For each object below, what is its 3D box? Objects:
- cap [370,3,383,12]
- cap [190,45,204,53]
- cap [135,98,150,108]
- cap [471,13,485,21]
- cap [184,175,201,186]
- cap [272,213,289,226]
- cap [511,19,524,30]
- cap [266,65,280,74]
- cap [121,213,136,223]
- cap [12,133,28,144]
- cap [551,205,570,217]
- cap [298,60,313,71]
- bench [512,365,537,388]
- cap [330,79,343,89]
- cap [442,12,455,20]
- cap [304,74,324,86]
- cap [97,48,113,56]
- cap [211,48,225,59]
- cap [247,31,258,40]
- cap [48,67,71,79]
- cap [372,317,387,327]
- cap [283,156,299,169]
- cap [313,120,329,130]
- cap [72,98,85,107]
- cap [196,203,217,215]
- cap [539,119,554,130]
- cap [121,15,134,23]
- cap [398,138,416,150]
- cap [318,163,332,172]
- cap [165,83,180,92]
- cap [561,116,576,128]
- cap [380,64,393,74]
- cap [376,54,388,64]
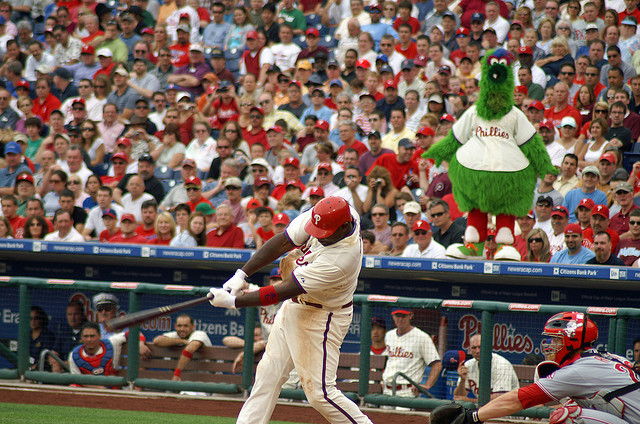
[{"bbox_3d":[1.055,-4.037,36.459,0.199,0.152,0.333,7,9,21],"label":"cap"},{"bbox_3d":[-2.434,-3.274,36.956,0.274,0.165,0.199,1,-5,-10],"label":"cap"},{"bbox_3d":[-3.375,-2.091,35.491,0.177,0.185,0.171,3,-1,-4],"label":"cap"},{"bbox_3d":[3.016,-3.759,35.527,0.247,0.202,0.303,0,-5,2],"label":"cap"},{"bbox_3d":[-2.250,-0.559,33.064,0.281,0.180,0.286,0,-5,-3],"label":"cap"},{"bbox_3d":[-0.672,0.110,32.255,0.282,0.215,0.212,0,-5,-1],"label":"cap"},{"bbox_3d":[3.760,-3.599,35.317,0.227,0.222,0.237,-2,-5,14],"label":"cap"},{"bbox_3d":[-0.898,-2.805,36.217,0.264,0.206,0.388,-1,-5,6],"label":"cap"},{"bbox_3d":[-3.359,0.095,32.689,0.240,0.183,0.251,0,-5,-5],"label":"cap"},{"bbox_3d":[-5.746,-1.420,35.752,0.280,0.215,0.359,1,-5,-11],"label":"cap"},{"bbox_3d":[4.080,-0.020,31.606,0.293,0.208,0.447,-1,-5,6],"label":"cap"},{"bbox_3d":[-0.260,-2.875,35.984,0.217,0.224,0.336,-4,-6,35],"label":"cap"},{"bbox_3d":[3.289,2.599,29.899,0.406,0.410,0.308,1,2,24],"label":"bench"},{"bbox_3d":[0.326,-2.446,35.195,0.199,0.152,0.333,1,-10,6],"label":"cap"},{"bbox_3d":[2.472,-3.826,36.007,0.264,0.162,0.191,-3,-6,30],"label":"cap"},{"bbox_3d":[-0.071,-2.562,35.577,0.296,0.263,0.445,-1,-5,4],"label":"cap"},{"bbox_3d":[-4.312,-3.254,37.491,0.287,0.218,0.398,0,-5,-6],"label":"cap"},{"bbox_3d":[-2.015,-3.175,36.934,0.260,0.282,0.560,0,-5,-3],"label":"cap"},{"bbox_3d":[-1.320,-3.522,36.743,0.192,0.156,0.320,2,3,6],"label":"cap"},{"bbox_3d":[-5.193,-2.792,37.378,0.421,0.236,0.483,2,-6,-29],"label":"cap"},{"bbox_3d":[0.990,1.806,30.569,0.236,0.155,0.054,0,-5,2],"label":"cap"},{"bbox_3d":[-0.504,-0.921,33.601,0.263,0.245,0.380,0,-5,-3],"label":"cap"},{"bbox_3d":[0.042,-1.607,34.046,0.244,0.189,0.250,-1,-5,4],"label":"cap"},{"bbox_3d":[-4.647,-2.155,36.092,0.177,0.135,0.295,2,-10,-4],"label":"cap"},{"bbox_3d":[-2.018,-0.072,32.901,0.293,0.127,0.207,4,18,2],"label":"cap"},{"bbox_3d":[4.024,-1.560,32.981,0.256,0.228,0.505,-1,-5,8],"label":"cap"},{"bbox_3d":[-3.921,-4.007,38.250,0.196,0.207,0.326,-1,-5,8],"label":"cap"},{"bbox_3d":[1.543,-1.231,32.966,0.276,0.217,0.219,-1,-5,3],"label":"cap"},{"bbox_3d":[0.113,-0.816,32.929,0.167,0.128,0.279,4,-12,2],"label":"cap"},{"bbox_3d":[-2.855,-2.431,36.116,0.280,0.181,0.348,0,-5,-7],"label":"cap"},{"bbox_3d":[4.432,-1.623,33.138,0.257,0.250,0.348,-1,-5,7],"label":"cap"},{"bbox_3d":[1.258,-2.722,35.046,0.235,0.237,0.387,0,-5,2],"label":"cap"},{"bbox_3d":[1.190,-2.944,35.342,0.162,0.131,0.269,-1,-4,5],"label":"cap"}]
